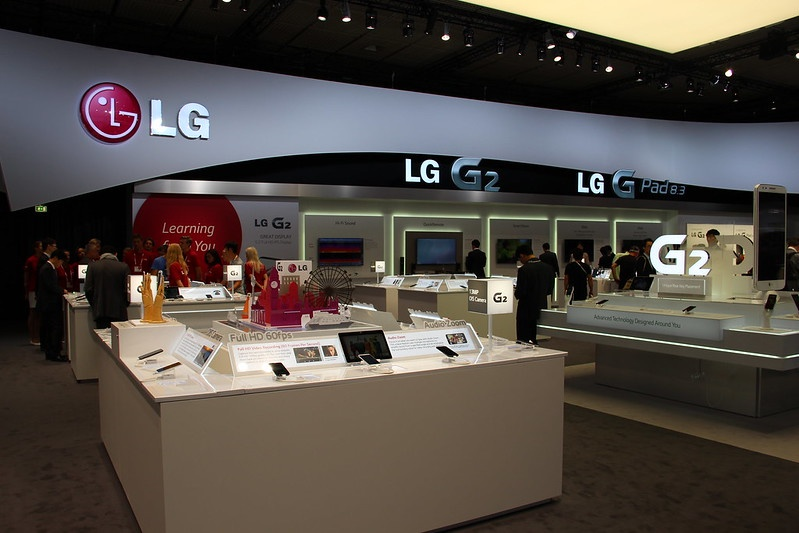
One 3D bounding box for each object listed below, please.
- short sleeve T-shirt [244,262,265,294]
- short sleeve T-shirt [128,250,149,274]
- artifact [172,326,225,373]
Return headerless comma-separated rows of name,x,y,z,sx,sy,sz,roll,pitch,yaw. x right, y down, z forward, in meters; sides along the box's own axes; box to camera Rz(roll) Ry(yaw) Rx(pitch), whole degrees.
short sleeve T-shirt,-2.073,0.171,7.483,0.252,0.461,0.465,-1,-1,20
short sleeve T-shirt,-4.339,-0.060,8.692,0.355,0.371,0.191,1,-5,-26
artifact,-1.529,0.628,3.947,0.212,0.215,0.747,-6,10,-35
